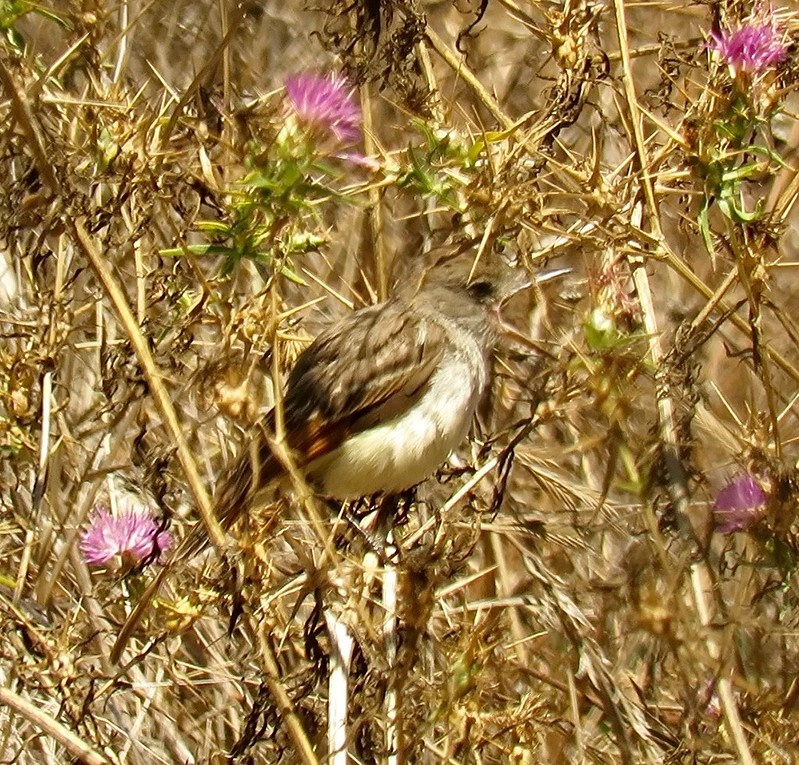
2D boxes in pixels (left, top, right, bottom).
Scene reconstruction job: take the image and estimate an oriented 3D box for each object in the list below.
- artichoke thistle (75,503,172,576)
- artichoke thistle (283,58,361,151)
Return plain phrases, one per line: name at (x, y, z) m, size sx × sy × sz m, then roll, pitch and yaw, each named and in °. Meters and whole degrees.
artichoke thistle at (-0.796, 0.447, 3.048) m, size 0.228 × 0.271 × 0.185 m, roll 5°, pitch 108°, yaw 8°
artichoke thistle at (-0.204, -0.708, 2.750) m, size 0.160 × 0.157 × 0.262 m, roll -6°, pitch 107°, yaw -36°
